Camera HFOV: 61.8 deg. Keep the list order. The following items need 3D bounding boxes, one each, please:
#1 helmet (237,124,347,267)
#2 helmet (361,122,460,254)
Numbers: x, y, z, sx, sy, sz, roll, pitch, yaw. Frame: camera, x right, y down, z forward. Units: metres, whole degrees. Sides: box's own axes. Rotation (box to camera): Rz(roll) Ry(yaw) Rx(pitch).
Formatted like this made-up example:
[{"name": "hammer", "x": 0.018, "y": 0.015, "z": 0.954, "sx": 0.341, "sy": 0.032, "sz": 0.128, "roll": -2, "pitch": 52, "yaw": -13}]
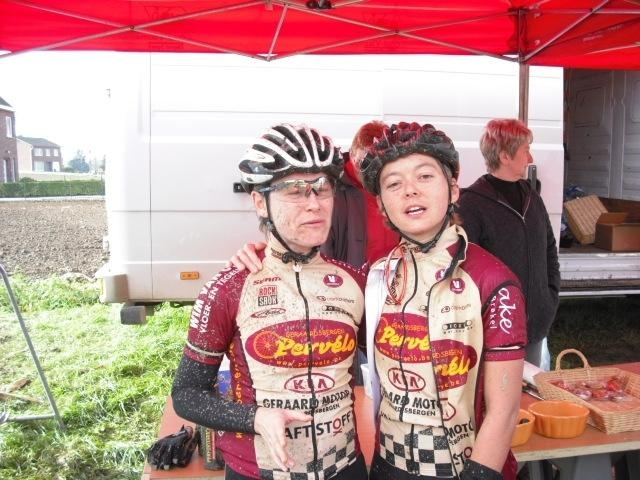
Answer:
[{"name": "helmet", "x": -0.104, "y": -0.234, "z": 2.510, "sx": 0.478, "sy": 0.549, "sz": 0.478, "roll": 0, "pitch": 6, "yaw": 25}, {"name": "helmet", "x": 0.403, "y": -0.256, "z": 2.533, "sx": 0.455, "sy": 0.538, "sz": 0.522, "roll": -4, "pitch": 13, "yaw": 12}]
